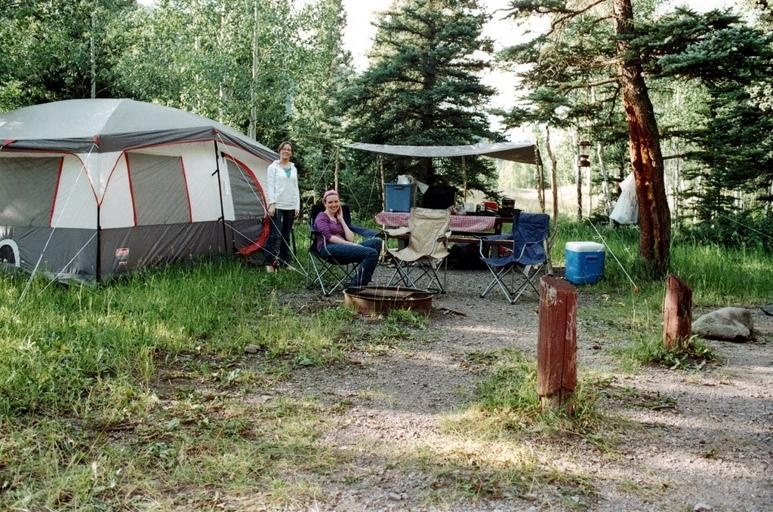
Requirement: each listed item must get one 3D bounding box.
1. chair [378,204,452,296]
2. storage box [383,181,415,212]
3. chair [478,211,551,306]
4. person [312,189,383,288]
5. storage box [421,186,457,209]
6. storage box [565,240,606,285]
[{"bbox_3d":[0.447,-0.084,10.426,0.947,1.182,0.884,9,11,39],"label":"chair"},{"bbox_3d":[0.197,-1.022,12.261,0.488,0.481,0.499,1,9,4],"label":"storage box"},{"bbox_3d":[1.794,0.000,10.416,1.047,1.236,0.967,5,8,36],"label":"chair"},{"bbox_3d":[-0.555,-0.248,9.837,1.023,1.289,0.494,1,4,36],"label":"person"},{"bbox_3d":[0.924,-1.018,12.457,0.591,0.398,0.434,2,5,16],"label":"storage box"},{"bbox_3d":[3.156,0.099,11.457,0.630,0.631,0.627,7,10,41],"label":"storage box"}]
